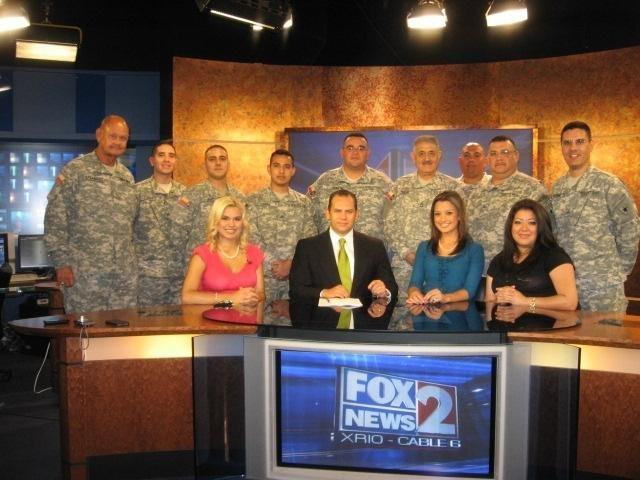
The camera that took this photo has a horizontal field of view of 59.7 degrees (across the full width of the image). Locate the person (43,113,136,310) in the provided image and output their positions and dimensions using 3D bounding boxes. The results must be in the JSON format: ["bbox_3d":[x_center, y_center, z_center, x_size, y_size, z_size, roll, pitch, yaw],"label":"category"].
[{"bbox_3d":[-1.657,-0.193,4.124,0.659,1.442,0.356,-1,1,-28],"label":"person"}]

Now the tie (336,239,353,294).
[{"bbox_3d":[0.167,0.164,3.709,0.106,0.354,0.077,0,1,12],"label":"tie"}]

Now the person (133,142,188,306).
[{"bbox_3d":[-1.364,-0.141,4.806,0.435,1.390,0.313,0,1,-21],"label":"person"}]
